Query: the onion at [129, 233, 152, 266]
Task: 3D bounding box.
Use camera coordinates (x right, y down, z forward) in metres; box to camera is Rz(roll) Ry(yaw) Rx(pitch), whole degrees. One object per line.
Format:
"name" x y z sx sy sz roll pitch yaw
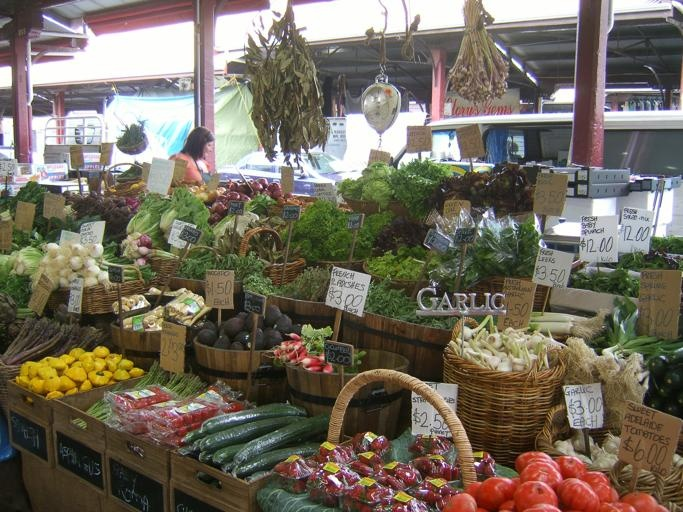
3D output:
"onion" -1.647 -0.058 4.268 0.096 0.255 0.155 -12 -27 39

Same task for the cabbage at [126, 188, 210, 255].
"cabbage" -1.543 -0.351 4.661 0.600 0.425 0.613 -10 -1 22

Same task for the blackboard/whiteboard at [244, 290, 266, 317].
"blackboard/whiteboard" -0.483 0.276 2.888 0.098 0.150 0.255 3 4 -14

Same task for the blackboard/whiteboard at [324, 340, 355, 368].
"blackboard/whiteboard" -0.015 0.493 2.571 0.176 0.131 0.026 7 10 36

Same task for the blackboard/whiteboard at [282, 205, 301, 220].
"blackboard/whiteboard" -0.371 -0.332 3.866 0.147 0.163 0.021 -1 7 -24

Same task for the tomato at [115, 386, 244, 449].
"tomato" -0.895 0.834 2.822 0.364 0.113 0.367 10 12 38

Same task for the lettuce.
"lettuce" -0.047 -0.227 4.553 0.795 0.446 0.577 -3 12 1

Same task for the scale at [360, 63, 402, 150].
"scale" 0.638 -2.008 7.424 0.524 1.396 0.363 -5 13 -43

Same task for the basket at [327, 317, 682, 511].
"basket" 0.860 0.675 2.538 1.222 0.779 0.925 10 9 34
